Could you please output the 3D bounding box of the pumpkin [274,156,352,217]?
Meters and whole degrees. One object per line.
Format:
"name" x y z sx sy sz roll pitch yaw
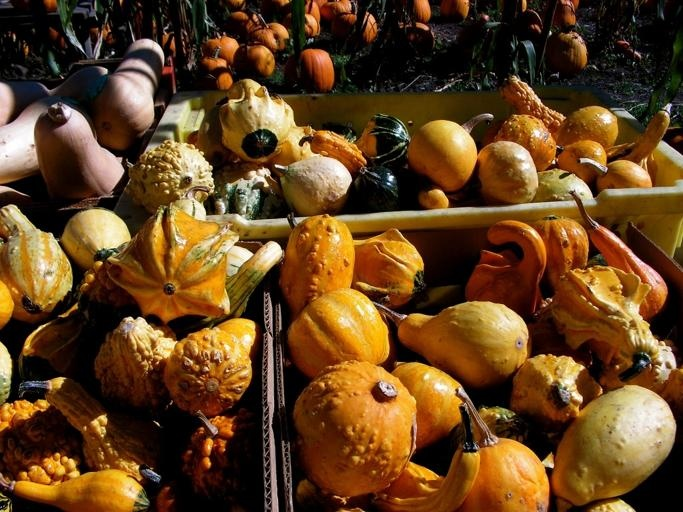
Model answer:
"pumpkin" -0.146 -0.351 3.078 0.327 0.292 0.252 -4 -3 -16

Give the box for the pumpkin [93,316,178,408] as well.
"pumpkin" -0.738 0.404 2.408 0.297 0.336 0.338 9 34 -1

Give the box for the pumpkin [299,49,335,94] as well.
"pumpkin" -0.245 -1.819 6.089 0.323 0.411 0.225 1 27 -6

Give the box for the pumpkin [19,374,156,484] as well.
"pumpkin" -0.910 0.586 2.369 0.502 0.246 0.281 34 -13 -9

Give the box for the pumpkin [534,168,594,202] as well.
"pumpkin" 1.138 -0.369 3.201 0.199 0.229 0.134 -1 -17 18

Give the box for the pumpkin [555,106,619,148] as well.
"pumpkin" 1.446 -0.741 3.690 0.310 0.217 0.225 -30 16 -8

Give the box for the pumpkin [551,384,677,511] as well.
"pumpkin" 0.938 0.663 2.314 0.475 0.304 0.285 -37 6 -14

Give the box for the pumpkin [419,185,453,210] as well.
"pumpkin" 0.460 -0.279 3.085 0.127 0.085 0.106 17 61 13

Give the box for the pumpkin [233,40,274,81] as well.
"pumpkin" -0.987 -2.129 6.843 0.383 0.420 0.375 -21 23 -38

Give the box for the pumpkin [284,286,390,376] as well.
"pumpkin" -0.027 0.280 2.492 0.324 0.347 0.334 -7 35 -35

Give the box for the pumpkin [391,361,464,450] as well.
"pumpkin" 0.342 0.548 2.353 0.264 0.293 0.253 -16 -12 29

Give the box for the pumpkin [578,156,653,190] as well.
"pumpkin" 1.445 -0.439 3.286 0.097 0.104 0.170 -15 31 -21

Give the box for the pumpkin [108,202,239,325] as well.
"pumpkin" -0.675 0.026 2.571 0.444 0.467 0.305 33 6 -13

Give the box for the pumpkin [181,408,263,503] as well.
"pumpkin" -0.412 0.734 2.279 0.250 0.287 0.278 -17 26 11

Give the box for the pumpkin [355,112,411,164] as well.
"pumpkin" 0.218 -0.655 3.504 0.280 0.266 0.237 25 -6 35

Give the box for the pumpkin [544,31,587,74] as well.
"pumpkin" 2.318 -2.086 6.419 0.395 0.419 0.263 17 30 23

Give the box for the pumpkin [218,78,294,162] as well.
"pumpkin" -0.464 -0.698 3.349 0.336 0.233 0.451 -23 64 -10

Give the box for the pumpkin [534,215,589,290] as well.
"pumpkin" 0.998 -0.016 2.994 0.266 0.360 0.285 5 -20 -2

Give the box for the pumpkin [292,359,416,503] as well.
"pumpkin" 0.044 0.596 2.261 0.410 0.419 0.458 19 43 -44

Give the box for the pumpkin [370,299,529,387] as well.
"pumpkin" 0.431 0.343 2.516 0.556 0.272 0.250 14 12 29

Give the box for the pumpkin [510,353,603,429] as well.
"pumpkin" 0.806 0.510 2.347 0.256 0.290 0.171 14 -8 30

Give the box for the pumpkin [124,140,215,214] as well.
"pumpkin" -0.841 -0.394 3.136 0.368 0.358 0.325 -23 17 0
